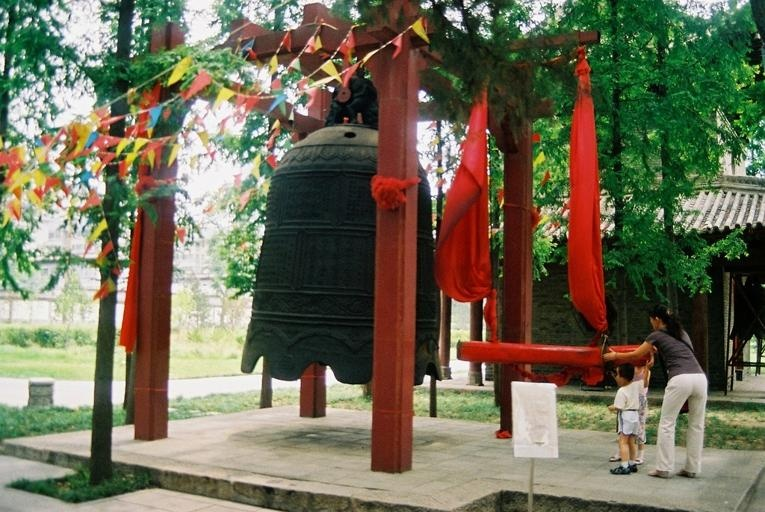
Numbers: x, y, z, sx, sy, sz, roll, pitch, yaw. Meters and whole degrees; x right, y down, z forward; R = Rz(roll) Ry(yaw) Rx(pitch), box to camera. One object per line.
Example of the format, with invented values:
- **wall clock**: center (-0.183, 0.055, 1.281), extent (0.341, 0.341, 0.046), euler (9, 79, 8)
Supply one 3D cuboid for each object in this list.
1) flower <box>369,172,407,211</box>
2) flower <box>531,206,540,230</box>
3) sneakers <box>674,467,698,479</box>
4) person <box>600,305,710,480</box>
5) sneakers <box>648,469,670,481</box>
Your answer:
- **flower**: center (0.145, -0.777, 9.275), extent (0.501, 0.435, 0.303), euler (-11, -21, -22)
- **flower**: center (2.284, -0.614, 11.281), extent (0.143, 0.313, 0.326), euler (8, -17, 13)
- **sneakers**: center (3.725, 2.659, 9.340), extent (0.211, 0.084, 0.087), euler (9, 2, 44)
- **person**: center (3.515, 1.665, 9.356), extent (1.308, 2.043, 0.662), euler (-3, 6, -29)
- **sneakers**: center (3.373, 2.636, 9.245), extent (0.229, 0.148, 0.111), euler (3, -1, 37)
